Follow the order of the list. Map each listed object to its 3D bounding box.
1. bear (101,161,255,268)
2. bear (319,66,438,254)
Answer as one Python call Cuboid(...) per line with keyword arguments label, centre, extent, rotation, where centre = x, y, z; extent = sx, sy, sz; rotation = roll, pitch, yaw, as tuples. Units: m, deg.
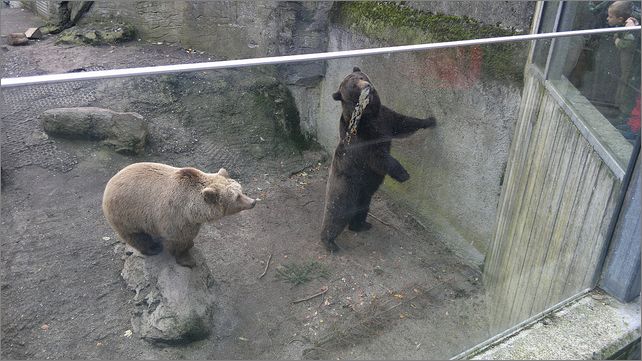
Cuboid(label="bear", centre=(-1.051, 0.242, 3.818), extent=(1.147, 0.730, 0.525), rotation=(6, 32, 9))
Cuboid(label="bear", centre=(0.279, -0.165, 3.845), extent=(0.570, 1.143, 0.941), rotation=(23, 44, 30))
